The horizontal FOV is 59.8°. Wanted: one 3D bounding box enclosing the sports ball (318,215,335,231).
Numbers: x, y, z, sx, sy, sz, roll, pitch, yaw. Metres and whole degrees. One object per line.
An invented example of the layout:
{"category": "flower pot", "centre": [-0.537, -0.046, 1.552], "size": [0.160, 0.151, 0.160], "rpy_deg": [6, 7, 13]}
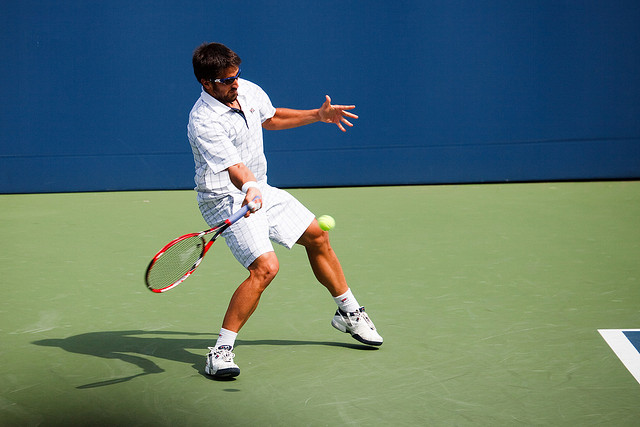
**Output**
{"category": "sports ball", "centre": [0.051, 0.071, 4.061], "size": [0.110, 0.103, 0.107], "rpy_deg": [7, -4, 0]}

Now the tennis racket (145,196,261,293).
{"category": "tennis racket", "centre": [-1.001, 0.294, 4.716], "size": [0.993, 0.321, 0.069], "rpy_deg": [-27, 18, -17]}

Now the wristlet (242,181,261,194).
{"category": "wristlet", "centre": [-0.446, -0.165, 3.530], "size": [0.085, 0.056, 0.081], "rpy_deg": [0, 8, 1]}
